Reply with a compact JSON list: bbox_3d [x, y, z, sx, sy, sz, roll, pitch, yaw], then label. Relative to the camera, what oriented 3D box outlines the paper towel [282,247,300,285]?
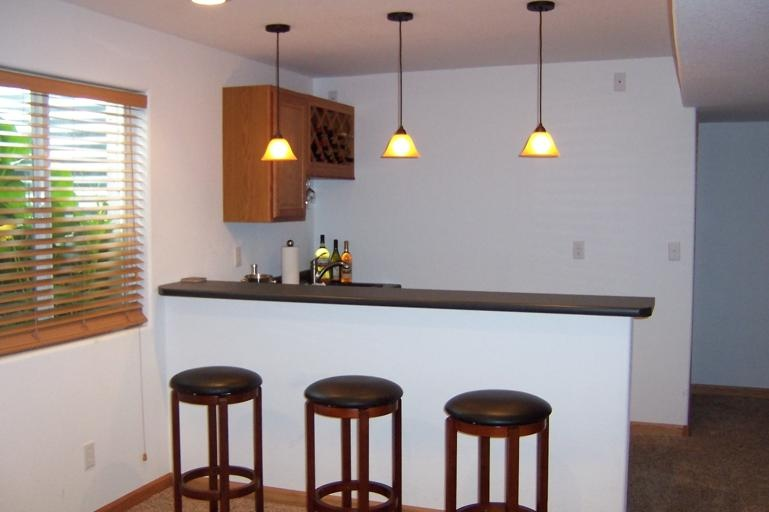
[{"bbox_3d":[-0.771,0.069,5.200,0.131,0.291,0.151,2,2,-10],"label":"paper towel"}]

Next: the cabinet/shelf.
[{"bbox_3d":[-0.797,-0.873,5.160,0.415,0.927,1.279,1,5,21],"label":"cabinet/shelf"}]

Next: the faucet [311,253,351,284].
[{"bbox_3d":[-0.438,0.137,5.241,0.332,0.214,0.977,2,2,-6],"label":"faucet"}]
